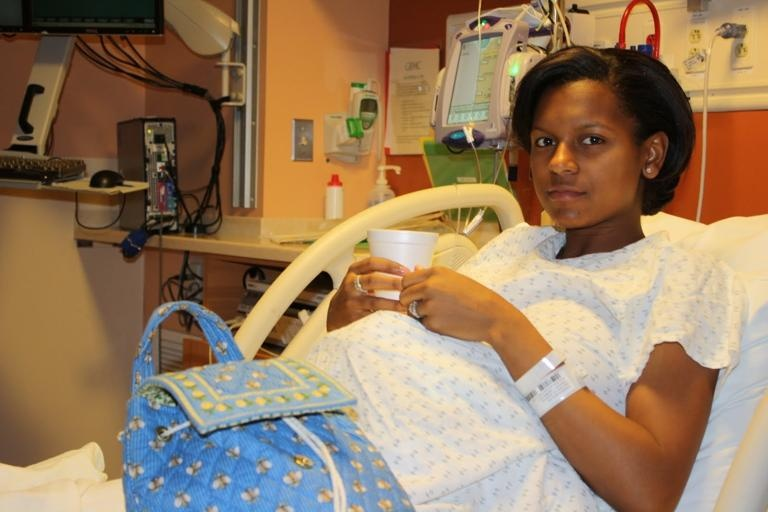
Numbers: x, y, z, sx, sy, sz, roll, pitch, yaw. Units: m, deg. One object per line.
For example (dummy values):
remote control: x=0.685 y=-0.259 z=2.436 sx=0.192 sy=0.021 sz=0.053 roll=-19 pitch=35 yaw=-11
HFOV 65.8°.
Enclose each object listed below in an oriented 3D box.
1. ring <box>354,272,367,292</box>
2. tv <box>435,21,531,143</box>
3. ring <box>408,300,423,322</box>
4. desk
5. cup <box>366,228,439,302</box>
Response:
ring: x=-0.055 y=0.064 z=1.471 sx=0.016 sy=0.036 sz=0.041 roll=-26 pitch=-30 yaw=4
tv: x=0.352 y=-0.631 z=2.187 sx=0.239 sy=0.471 sz=0.394 roll=-9 pitch=12 yaw=-38
ring: x=0.068 y=0.127 z=1.367 sx=0.019 sy=0.040 sz=0.039 roll=-19 pitch=-38 yaw=26
desk: x=-0.343 y=0.157 z=1.715 sx=0.389 sy=0.279 sz=0.623 roll=-3 pitch=18 yaw=27
cup: x=0.045 y=0.023 z=1.392 sx=0.149 sy=0.139 sz=0.144 roll=1 pitch=2 yaw=0
